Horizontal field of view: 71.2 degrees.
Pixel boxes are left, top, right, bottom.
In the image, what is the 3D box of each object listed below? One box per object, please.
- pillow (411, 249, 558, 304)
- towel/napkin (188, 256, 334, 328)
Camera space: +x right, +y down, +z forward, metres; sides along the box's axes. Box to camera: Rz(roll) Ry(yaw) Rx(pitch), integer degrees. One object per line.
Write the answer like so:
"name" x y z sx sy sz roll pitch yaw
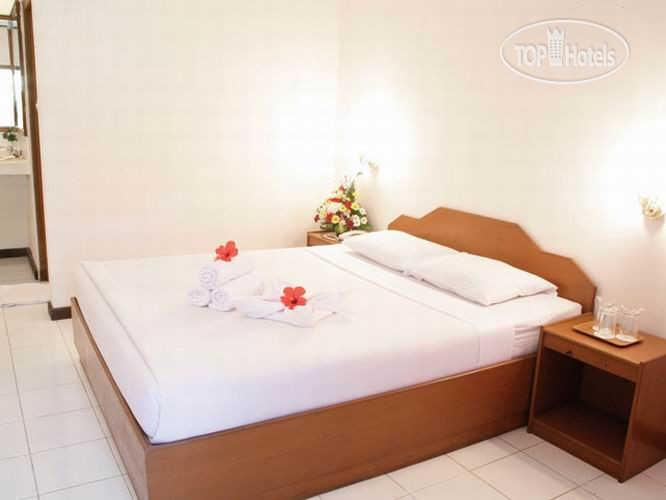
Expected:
"pillow" 1.032 0.182 3.104 0.437 0.131 0.493 -6 16 -34
"towel/napkin" -0.428 0.262 2.637 0.513 0.170 0.491 10 11 16
